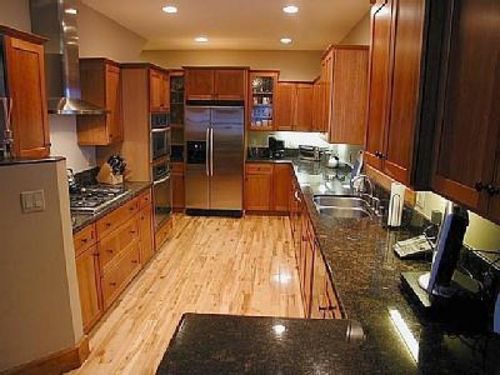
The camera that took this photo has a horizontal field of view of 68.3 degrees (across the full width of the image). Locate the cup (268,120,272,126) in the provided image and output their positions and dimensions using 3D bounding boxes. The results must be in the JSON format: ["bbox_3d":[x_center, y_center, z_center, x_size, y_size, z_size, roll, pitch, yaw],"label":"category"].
[{"bbox_3d":[0.347,-1.123,6.413,0.071,0.144,0.074,1,0,0],"label":"cup"}]

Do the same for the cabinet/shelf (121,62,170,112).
[{"bbox_3d":[-1.518,-1.243,4.765,0.322,0.645,1.058,-5,16,-19],"label":"cabinet/shelf"}]

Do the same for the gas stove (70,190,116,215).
[{"bbox_3d":[-1.573,0.106,3.452,0.228,0.050,0.546,1,22,-29],"label":"gas stove"}]

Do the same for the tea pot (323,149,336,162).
[{"bbox_3d":[1.253,-0.501,5.816,0.158,0.272,0.207,0,7,1],"label":"tea pot"}]

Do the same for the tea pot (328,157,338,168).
[{"bbox_3d":[1.248,-0.377,5.533,0.154,0.176,0.162,1,13,0],"label":"tea pot"}]

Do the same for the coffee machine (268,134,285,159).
[{"bbox_3d":[0.466,-0.767,6.710,0.336,0.573,0.397,0,13,3],"label":"coffee machine"}]

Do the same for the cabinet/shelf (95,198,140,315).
[{"bbox_3d":[-1.254,0.654,3.443,0.398,0.741,0.854,-1,16,-1],"label":"cabinet/shelf"}]

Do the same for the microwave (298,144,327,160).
[{"bbox_3d":[1.071,-0.610,6.419,0.371,0.172,0.294,-3,11,-26],"label":"microwave"}]

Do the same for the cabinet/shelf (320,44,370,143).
[{"bbox_3d":[0.988,-0.958,3.771,0.459,1.156,1.194,1,8,5],"label":"cabinet/shelf"}]

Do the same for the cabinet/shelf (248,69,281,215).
[{"bbox_3d":[0.181,-0.762,6.272,0.529,2.363,0.532,1,13,1],"label":"cabinet/shelf"}]

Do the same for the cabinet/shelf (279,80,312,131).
[{"bbox_3d":[0.796,-1.445,6.372,0.737,1.055,0.356,0,11,3],"label":"cabinet/shelf"}]

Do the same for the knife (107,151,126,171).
[{"bbox_3d":[-1.566,-0.307,4.340,0.156,0.228,0.082,0,-4,-26],"label":"knife"}]

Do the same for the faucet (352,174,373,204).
[{"bbox_3d":[1.169,0.039,3.732,0.213,0.317,0.109,6,-22,-36],"label":"faucet"}]
